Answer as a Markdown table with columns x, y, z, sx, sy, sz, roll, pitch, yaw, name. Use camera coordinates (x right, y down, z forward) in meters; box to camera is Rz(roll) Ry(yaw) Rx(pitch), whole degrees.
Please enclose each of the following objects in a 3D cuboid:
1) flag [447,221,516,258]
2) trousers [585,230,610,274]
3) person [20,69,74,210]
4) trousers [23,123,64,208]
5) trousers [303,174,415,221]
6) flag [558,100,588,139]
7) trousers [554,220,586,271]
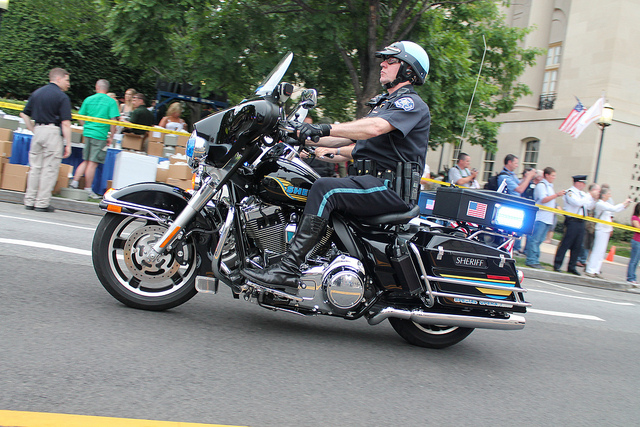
| x | y | z | sx | sy | sz | roll | pitch | yaw | name |
| --- | --- | --- | --- | --- | --- | --- | --- | --- | --- |
| 1.840 | 0.263 | 6.454 | 0.791 | 0.351 | 0.341 | 25 | -2 | 8 | flag |
| 6.461 | 0.899 | 13.269 | 0.322 | 1.069 | 0.435 | 17 | 5 | 29 | trousers |
| -4.812 | -1.305 | 9.966 | 0.864 | 1.696 | 0.434 | 13 | 5 | -15 | person |
| -4.873 | -0.850 | 9.975 | 0.564 | 1.019 | 0.321 | 12 | 5 | -18 | trousers |
| 0.385 | -0.164 | 5.740 | 0.982 | 0.219 | 0.450 | -5 | 6 | -14 | trousers |
| 7.682 | -2.858 | 17.192 | 0.467 | 1.167 | 0.717 | 15 | 4 | 5 | flag |
| 5.745 | 0.741 | 13.054 | 0.547 | 1.186 | 0.331 | 15 | 4 | 7 | trousers |
